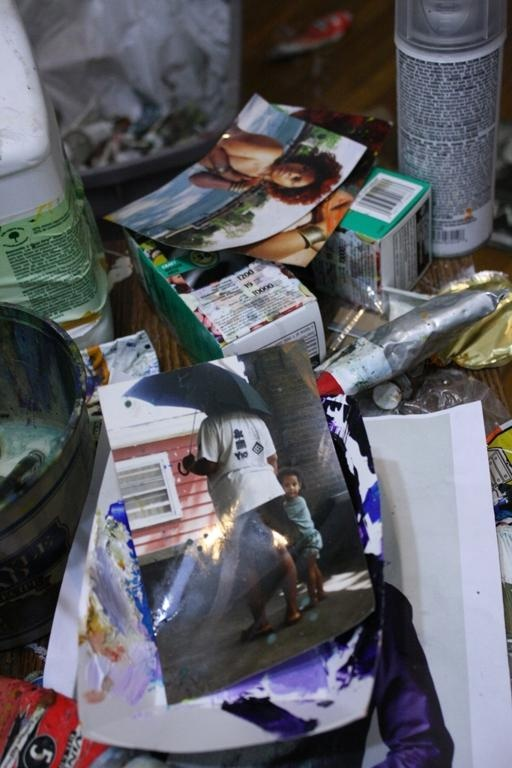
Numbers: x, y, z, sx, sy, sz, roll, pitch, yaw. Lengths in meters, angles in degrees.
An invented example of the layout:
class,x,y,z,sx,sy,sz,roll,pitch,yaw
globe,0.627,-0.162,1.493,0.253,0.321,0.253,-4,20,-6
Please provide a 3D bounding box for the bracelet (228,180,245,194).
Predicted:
class,x,y,z,sx,sy,sz,roll,pitch,yaw
bracelet,-0.016,-0.175,0.581,0.012,0.012,0.004,18,0,6

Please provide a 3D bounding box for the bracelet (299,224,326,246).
class,x,y,z,sx,sy,sz,roll,pitch,yaw
bracelet,0.045,-0.120,0.527,0.017,0.010,0.024,-17,34,-2

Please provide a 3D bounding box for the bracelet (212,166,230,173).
class,x,y,z,sx,sy,sz,roll,pitch,yaw
bracelet,-0.031,-0.195,0.594,0.008,0.002,0.008,28,65,17
